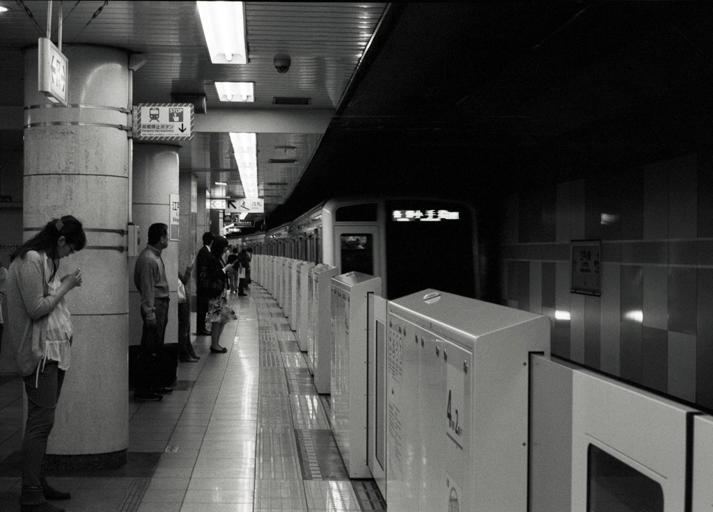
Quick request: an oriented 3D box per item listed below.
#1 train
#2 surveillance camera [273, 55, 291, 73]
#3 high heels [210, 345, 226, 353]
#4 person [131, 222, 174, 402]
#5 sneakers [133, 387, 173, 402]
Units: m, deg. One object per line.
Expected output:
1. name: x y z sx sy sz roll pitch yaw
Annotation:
1. train: 0.151 -0.190 9.602 1.123 1.389 5.866 1 -2 -14
2. surveillance camera: -0.764 -1.962 6.045 0.126 0.160 0.172 0 10 -3
3. high heels: -2.441 1.623 10.447 0.323 0.128 0.115 -3 6 1
4. person: -2.458 0.685 7.100 0.434 2.167 0.775 2 3 -17
5. sneakers: -2.505 1.711 7.373 0.510 0.221 0.156 -3 5 -19
